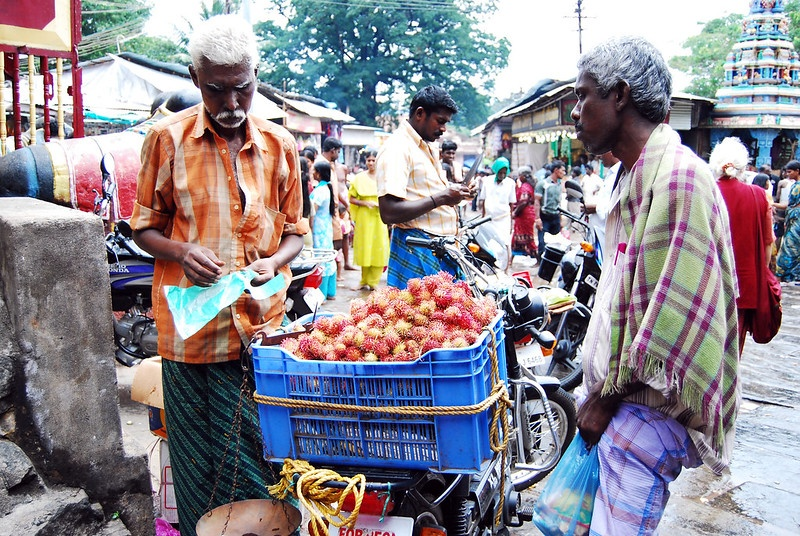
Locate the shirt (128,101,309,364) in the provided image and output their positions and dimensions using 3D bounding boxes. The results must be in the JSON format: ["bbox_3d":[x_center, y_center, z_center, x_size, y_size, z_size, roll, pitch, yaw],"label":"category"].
[{"bbox_3d":[-0.922,-0.179,3.595,0.909,1.236,0.461,-1,11,-21],"label":"shirt"}]

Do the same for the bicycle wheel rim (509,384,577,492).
[{"bbox_3d":[0.913,1.109,4.711,0.562,0.596,0.550,-9,-15,37],"label":"bicycle wheel rim"}]

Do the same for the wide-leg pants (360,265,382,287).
[{"bbox_3d":[-0.417,0.111,9.902,0.274,0.349,0.189,3,4,-1],"label":"wide-leg pants"}]

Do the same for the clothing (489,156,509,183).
[{"bbox_3d":[1.614,-1.544,11.052,0.336,0.466,0.364,-2,11,0],"label":"clothing"}]

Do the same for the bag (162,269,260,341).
[{"bbox_3d":[-0.882,0.179,3.334,0.361,0.113,0.338,-30,56,2],"label":"bag"}]

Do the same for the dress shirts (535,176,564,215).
[{"bbox_3d":[2.748,-1.304,12.548,0.610,0.687,0.380,-5,14,-20],"label":"dress shirts"}]

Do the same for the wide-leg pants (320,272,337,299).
[{"bbox_3d":[-0.861,0.199,8.280,0.119,0.347,0.258,4,19,17],"label":"wide-leg pants"}]
